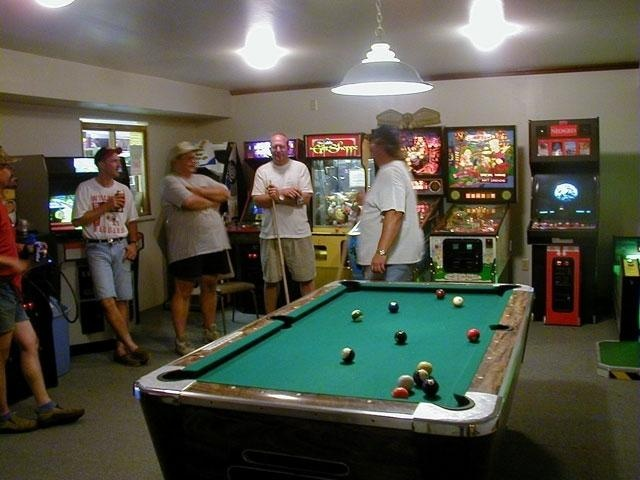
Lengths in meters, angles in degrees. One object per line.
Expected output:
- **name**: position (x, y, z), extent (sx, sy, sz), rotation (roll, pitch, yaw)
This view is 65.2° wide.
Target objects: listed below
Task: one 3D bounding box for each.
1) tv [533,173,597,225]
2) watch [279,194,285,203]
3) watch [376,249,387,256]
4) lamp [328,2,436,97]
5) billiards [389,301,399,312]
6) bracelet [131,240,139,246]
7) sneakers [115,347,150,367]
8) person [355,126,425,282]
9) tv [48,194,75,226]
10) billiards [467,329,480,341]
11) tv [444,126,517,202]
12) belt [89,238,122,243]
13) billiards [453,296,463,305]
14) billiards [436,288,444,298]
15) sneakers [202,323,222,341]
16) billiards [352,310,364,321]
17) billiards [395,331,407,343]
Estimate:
- **tv**: position (2.630, -0.437, 5.403), extent (0.654, 0.552, 0.233), rotation (0, 9, 20)
- **watch**: position (-0.362, -0.395, 4.825), extent (0.055, 0.051, 0.013), rotation (2, 5, -32)
- **watch**: position (0.451, 0.093, 3.664), extent (0.048, 0.045, 0.027), rotation (5, 49, 9)
- **lamp**: position (0.411, -1.436, 3.720), extent (0.670, 0.787, 1.458), rotation (-3, 8, 2)
- **billiards**: position (0.427, 0.388, 2.911), extent (0.052, 0.045, 0.050), rotation (-13, 6, -23)
- **bracelet**: position (-1.807, 0.024, 4.867), extent (0.067, 0.033, 0.065), rotation (-2, -4, 31)
- **sneakers**: position (-1.743, 1.086, 4.658), extent (0.319, 0.096, 0.149), rotation (0, 2, 27)
- **person**: position (0.490, -0.266, 3.789), extent (0.475, 1.178, 0.430), rotation (1, 9, 25)
- **tv**: position (-2.611, -0.297, 5.026), extent (0.179, 0.305, 0.334), rotation (-1, -3, 38)
- **billiards**: position (0.720, 0.449, 2.354), extent (0.055, 0.055, 0.055), rotation (-6, -38, 6)
- **tv**: position (1.821, -0.875, 5.608), extent (0.921, 0.906, 0.338), rotation (0, 5, 14)
- **belt**: position (-1.981, 0.005, 4.623), extent (0.293, 0.047, 0.096), rotation (-6, 8, -22)
- **billiards**: position (0.818, 0.363, 2.985), extent (0.052, 0.035, 0.052), rotation (-4, 1, -32)
- **billiards**: position (0.760, 0.331, 3.179), extent (0.051, 0.046, 0.044), rotation (-23, 8, 36)
- **sneakers**: position (-1.054, 0.903, 4.960), extent (0.218, 0.199, 0.164), rotation (-6, -2, 43)
- **billiards**: position (0.216, 0.416, 2.765), extent (0.053, 0.050, 0.054), rotation (3, -20, -40)
- **billiards**: position (0.378, 0.459, 2.383), extent (0.056, 0.052, 0.053), rotation (0, -3, -2)
